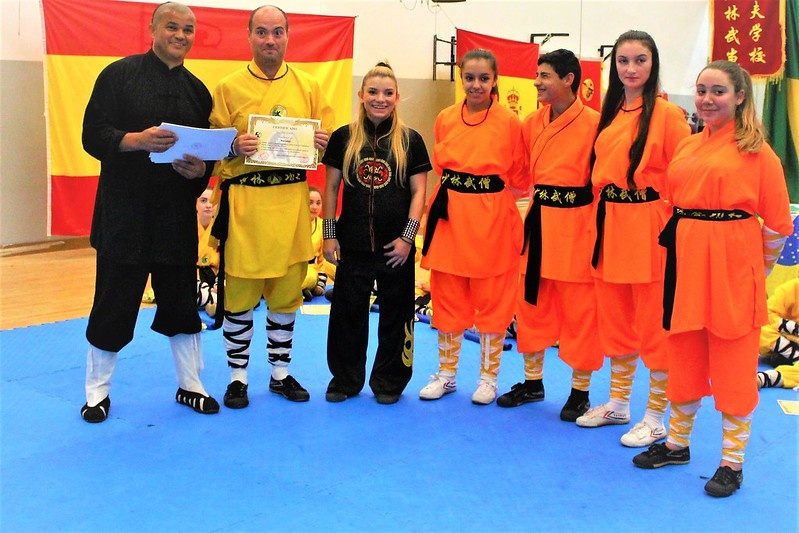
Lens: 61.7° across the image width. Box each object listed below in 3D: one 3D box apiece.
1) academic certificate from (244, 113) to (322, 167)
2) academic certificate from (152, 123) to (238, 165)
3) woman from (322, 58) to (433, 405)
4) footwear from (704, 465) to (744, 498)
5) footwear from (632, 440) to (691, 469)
[{"bbox_3d":[-0.752,-0.787,4.195,0.387,0.240,0.037,3,3,-15],"label":"academic certificate"},{"bbox_3d":[-1.237,-0.727,3.980,0.517,0.053,0.388,-5,-25,-25],"label":"academic certificate"},{"bbox_3d":[-0.149,-0.208,4.584,0.803,2.221,0.585,-1,7,-6],"label":"woman"},{"bbox_3d":[1.764,1.168,3.637,0.105,0.109,0.270,-9,-6,42],"label":"footwear"},{"bbox_3d":[1.514,1.107,3.926,0.371,0.128,0.122,0,-3,-5],"label":"footwear"}]
